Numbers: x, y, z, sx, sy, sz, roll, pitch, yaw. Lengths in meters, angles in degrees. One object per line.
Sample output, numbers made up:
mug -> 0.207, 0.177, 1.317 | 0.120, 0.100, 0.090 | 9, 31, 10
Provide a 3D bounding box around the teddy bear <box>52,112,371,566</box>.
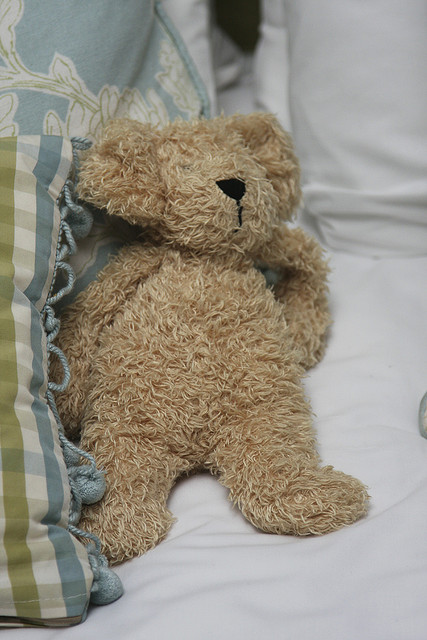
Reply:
teddy bear -> -0.012, 0.000, 0.782 | 0.419, 0.323, 0.493 | -3, 109, -30
